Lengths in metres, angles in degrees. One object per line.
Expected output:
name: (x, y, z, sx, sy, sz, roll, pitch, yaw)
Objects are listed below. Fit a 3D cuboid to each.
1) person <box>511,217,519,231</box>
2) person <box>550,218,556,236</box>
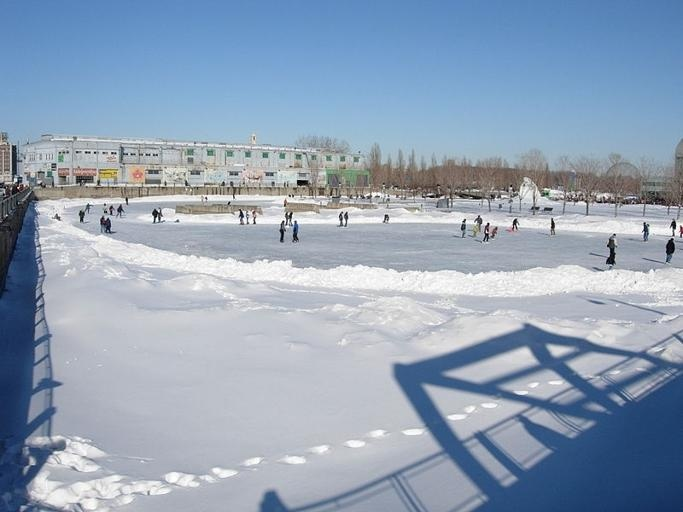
person: (14.386, -2.695, 43.423, 0.432, 1.048, 2.773, 3, 9, 16)
person: (16.342, -2.298, 40.459, 0.309, 1.172, 2.377, 3, 9, 20)
